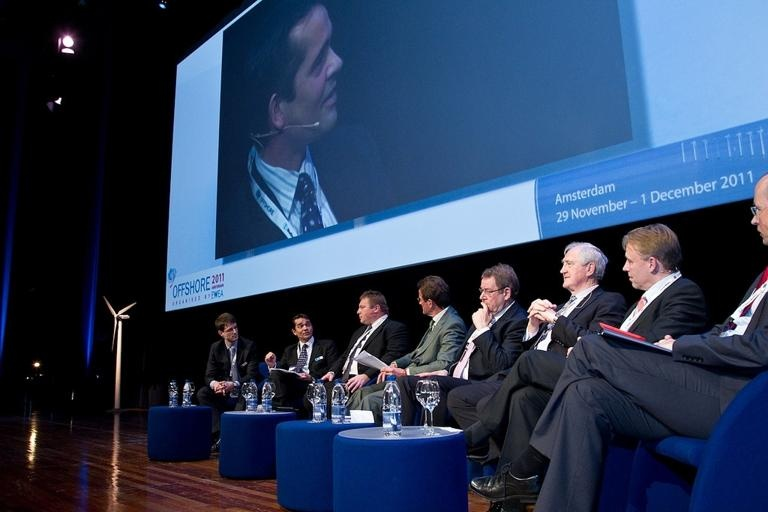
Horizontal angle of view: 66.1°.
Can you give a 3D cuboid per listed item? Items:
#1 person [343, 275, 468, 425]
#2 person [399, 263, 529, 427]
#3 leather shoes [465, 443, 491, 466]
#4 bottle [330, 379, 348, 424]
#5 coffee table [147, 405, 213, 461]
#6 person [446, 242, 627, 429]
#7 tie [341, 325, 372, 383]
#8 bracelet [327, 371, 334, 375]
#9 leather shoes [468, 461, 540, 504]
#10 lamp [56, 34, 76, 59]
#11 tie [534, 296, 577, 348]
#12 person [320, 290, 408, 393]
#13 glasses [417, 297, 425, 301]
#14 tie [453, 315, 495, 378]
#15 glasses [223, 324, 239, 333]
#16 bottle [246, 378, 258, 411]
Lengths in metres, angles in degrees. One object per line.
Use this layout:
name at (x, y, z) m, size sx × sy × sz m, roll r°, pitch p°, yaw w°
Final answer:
person at (0.179, 0.851, 4.427) m, size 0.857 × 1.438 × 0.561 m, roll 8°, pitch -10°, yaw -19°
person at (0.632, 0.749, 4.491) m, size 1.006 × 1.723 × 0.748 m, roll 6°, pitch -14°, yaw -6°
leather shoes at (0.555, 1.151, 3.437) m, size 0.155 × 0.130 × 0.064 m, roll -1°, pitch -12°, yaw 3°
bottle at (-0.283, 0.910, 3.654) m, size 0.076 × 0.219 × 0.126 m, roll 0°, pitch -9°, yaw -7°
coffee table at (-1.735, 1.456, 5.013) m, size 0.447 × 0.360 × 0.468 m, roll 0°, pitch -2°, yaw 2°
person at (0.943, 0.534, 3.541) m, size 0.872 × 1.342 × 0.717 m, roll 9°, pitch -9°, yaw -4°
tie at (-0.197, 0.829, 5.041) m, size 0.194 × 0.397 × 0.271 m, roll 11°, pitch 1°, yaw -3°
bracelet at (-0.464, 1.019, 5.106) m, size 0.043 × 0.014 × 0.044 m, roll 11°, pitch 5°, yaw 36°
leather shoes at (0.605, 1.114, 2.921) m, size 0.334 × 0.164 × 0.143 m, roll -2°, pitch -6°, yaw 27°
lamp at (-4.364, -2.875, 8.057) m, size 0.238 × 0.161 × 0.393 m, roll 4°, pitch -10°, yaw -28°
tie at (1.062, 0.406, 3.586) m, size 0.309 × 0.109 × 0.230 m, roll -45°, pitch 1°, yaw 12°
person at (-0.157, 0.738, 5.016) m, size 0.636 × 0.879 × 0.694 m, roll 0°, pitch -6°, yaw -44°
glasses at (0.300, 0.326, 4.568) m, size 0.039 × 0.014 × 0.057 m, roll 34°, pitch -10°, yaw 6°
tie at (0.512, 0.625, 3.861) m, size 0.347 × 0.195 × 0.272 m, roll 15°, pitch 3°, yaw -23°
glasses at (-1.552, 0.740, 5.958) m, size 0.107 × 0.096 × 0.090 m, roll -44°, pitch -19°, yaw 30°
bottle at (-1.111, 1.167, 4.887) m, size 0.098 × 0.226 × 0.498 m, roll 1°, pitch -10°, yaw -14°
